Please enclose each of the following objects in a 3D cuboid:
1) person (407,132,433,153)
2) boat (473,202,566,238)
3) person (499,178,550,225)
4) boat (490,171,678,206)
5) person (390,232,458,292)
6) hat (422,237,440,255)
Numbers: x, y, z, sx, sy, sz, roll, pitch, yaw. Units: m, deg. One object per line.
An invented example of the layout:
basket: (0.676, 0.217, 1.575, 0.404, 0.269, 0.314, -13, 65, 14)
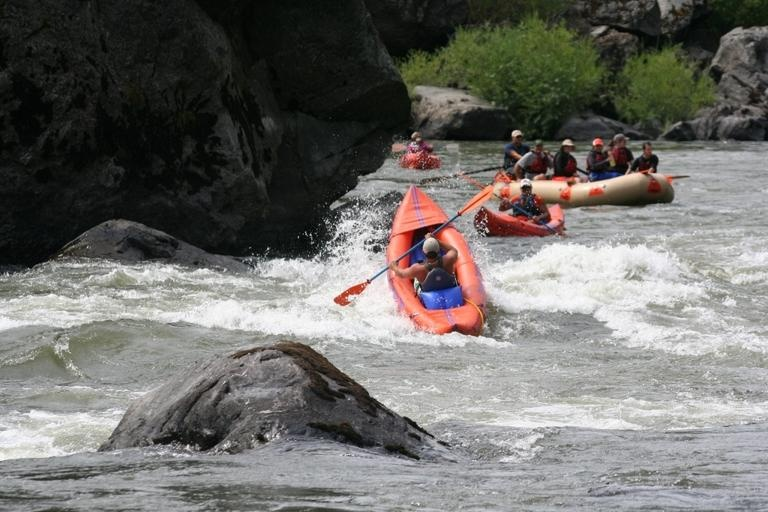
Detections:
person: (0.948, -3.095, 38.714, 0.629, 0.565, 1.029, -5, 5, 1)
boat: (2.984, -0.740, 29.418, 1.491, 0.423, 0.813, -3, 11, -29)
person: (3.004, -0.862, 29.911, 1.110, 1.277, 0.728, -1, 16, 6)
boat: (4.639, -1.410, 31.922, 3.119, 0.462, 1.449, 1, 0, 33)
person: (0.853, 0.187, 24.906, 0.997, 1.082, 0.426, -14, 47, -6)
hat: (0.832, -0.182, 24.926, 0.296, 0.278, 0.385, -5, 5, 2)
